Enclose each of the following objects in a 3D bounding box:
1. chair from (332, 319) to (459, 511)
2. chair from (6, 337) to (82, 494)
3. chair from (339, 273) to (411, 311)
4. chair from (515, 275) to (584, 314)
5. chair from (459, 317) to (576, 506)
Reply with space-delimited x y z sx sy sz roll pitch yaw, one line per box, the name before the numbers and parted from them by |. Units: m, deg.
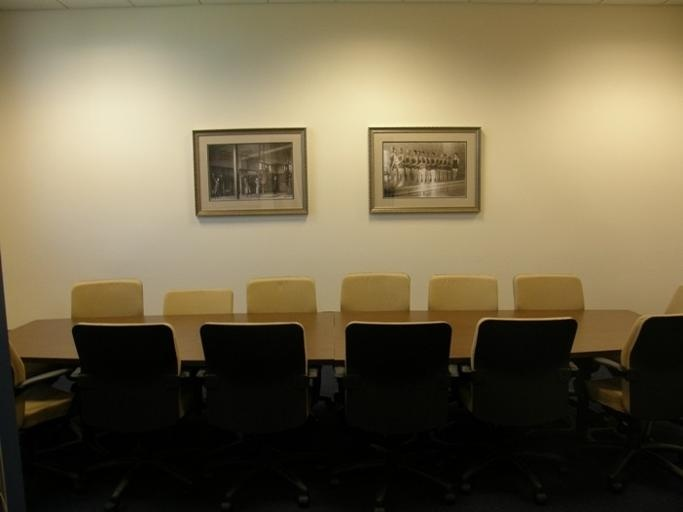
chair | 0.397 1.030 4.222 1.085 1.563 1.154 0 8 0
chair | -2.185 0.943 4.154 0.374 0.728 0.495 -6 15 -29
chair | 0.299 0.327 5.011 0.589 0.311 0.168 1 13 0
chair | 1.825 0.334 5.041 0.357 0.559 0.426 -1 -4 3
chair | 1.243 1.026 4.098 0.755 1.308 0.543 3 13 9
